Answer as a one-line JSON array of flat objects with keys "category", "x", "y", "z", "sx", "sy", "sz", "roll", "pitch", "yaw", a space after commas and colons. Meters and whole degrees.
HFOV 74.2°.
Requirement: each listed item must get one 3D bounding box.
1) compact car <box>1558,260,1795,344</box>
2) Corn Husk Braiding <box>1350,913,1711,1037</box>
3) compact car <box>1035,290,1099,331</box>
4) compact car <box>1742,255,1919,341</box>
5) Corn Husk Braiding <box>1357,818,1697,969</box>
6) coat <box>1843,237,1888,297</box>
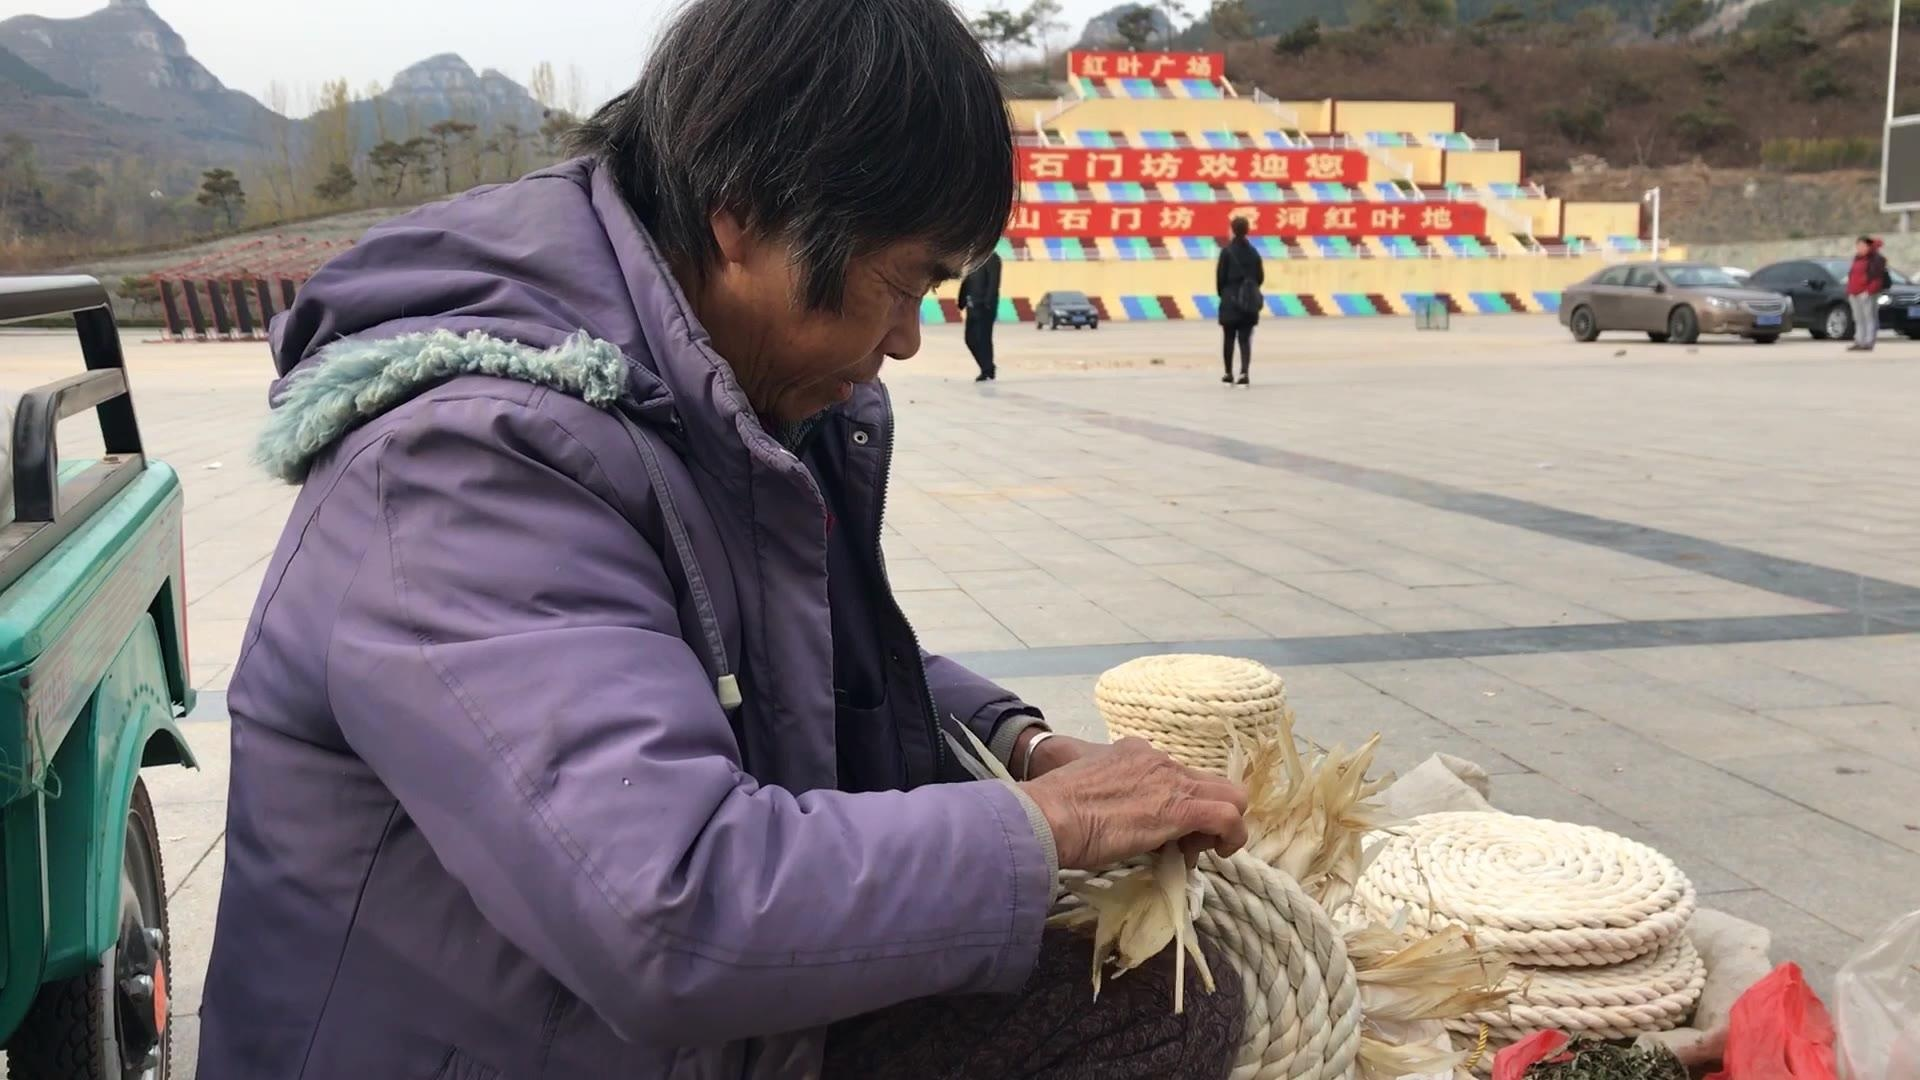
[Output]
[{"category": "compact car", "x": 12.691, "y": -4.182, "z": 22.581, "sx": 1.113, "sy": 1.609, "sz": 3.602, "roll": -7, "pitch": 6, "yaw": -25}, {"category": "Corn Husk Braiding", "x": 1.484, "y": 1.071, "z": 2.987, "sx": 0.702, "sy": 0.188, "sz": 0.137, "roll": -5, "pitch": 6, "yaw": -16}, {"category": "compact car", "x": 2.945, "y": -6.592, "z": 36.896, "sx": 1.174, "sy": 0.728, "sz": 1.928, "roll": -2, "pitch": 1, "yaw": -11}, {"category": "compact car", "x": 15.419, "y": -4.311, "z": 22.529, "sx": 1.622, "sy": 0.950, "sz": 2.771, "roll": -2, "pitch": 4, "yaw": -11}, {"category": "Corn Husk Braiding", "x": 1.377, "y": 0.844, "z": 3.072, "sx": 0.623, "sy": 0.200, "sz": 0.605, "roll": 4, "pitch": 6, "yaw": 24}, {"category": "coat", "x": 13.782, "y": -4.170, "z": 19.286, "sx": 0.449, "sy": 0.867, "sz": 1.164, "roll": 1, "pitch": 7, "yaw": 33}]
